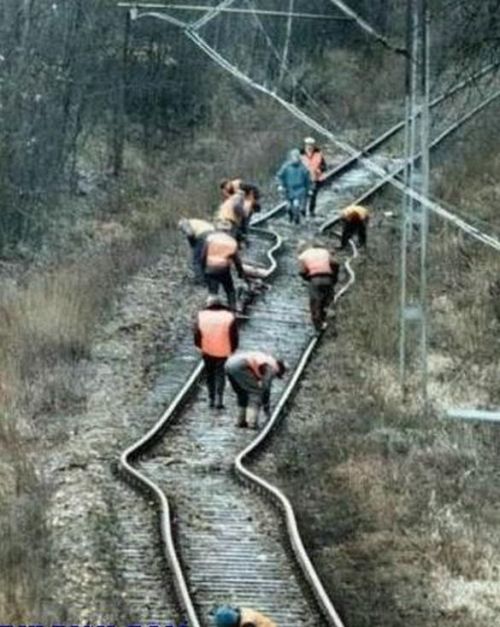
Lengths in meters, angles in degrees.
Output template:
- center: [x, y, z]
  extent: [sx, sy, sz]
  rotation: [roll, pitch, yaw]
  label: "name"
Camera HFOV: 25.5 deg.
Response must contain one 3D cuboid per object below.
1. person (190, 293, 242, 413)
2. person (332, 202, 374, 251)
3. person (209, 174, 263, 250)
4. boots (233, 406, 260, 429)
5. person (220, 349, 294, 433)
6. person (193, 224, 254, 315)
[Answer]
- center: [-0.444, 0.545, 13.497]
  extent: [0.509, 1.583, 0.922]
  rotation: [3, 14, -4]
  label: "person"
- center: [1.730, -1.520, 18.204]
  extent: [0.322, 0.856, 1.280]
  rotation: [4, 13, 9]
  label: "person"
- center: [-0.153, -1.537, 15.561]
  extent: [0.321, 0.831, 1.450]
  rotation: [5, 26, 7]
  label: "person"
- center: [-0.008, 1.246, 13.494]
  extent: [0.205, 0.387, 0.299]
  rotation: [1, 0, 22]
  label: "boots"
- center: [0.063, 0.848, 13.315]
  extent: [0.547, 0.983, 0.705]
  rotation: [7, 13, 20]
  label: "person"
- center: [-0.399, -0.926, 14.598]
  extent: [0.358, 0.832, 1.500]
  rotation: [-11, 37, -3]
  label: "person"
